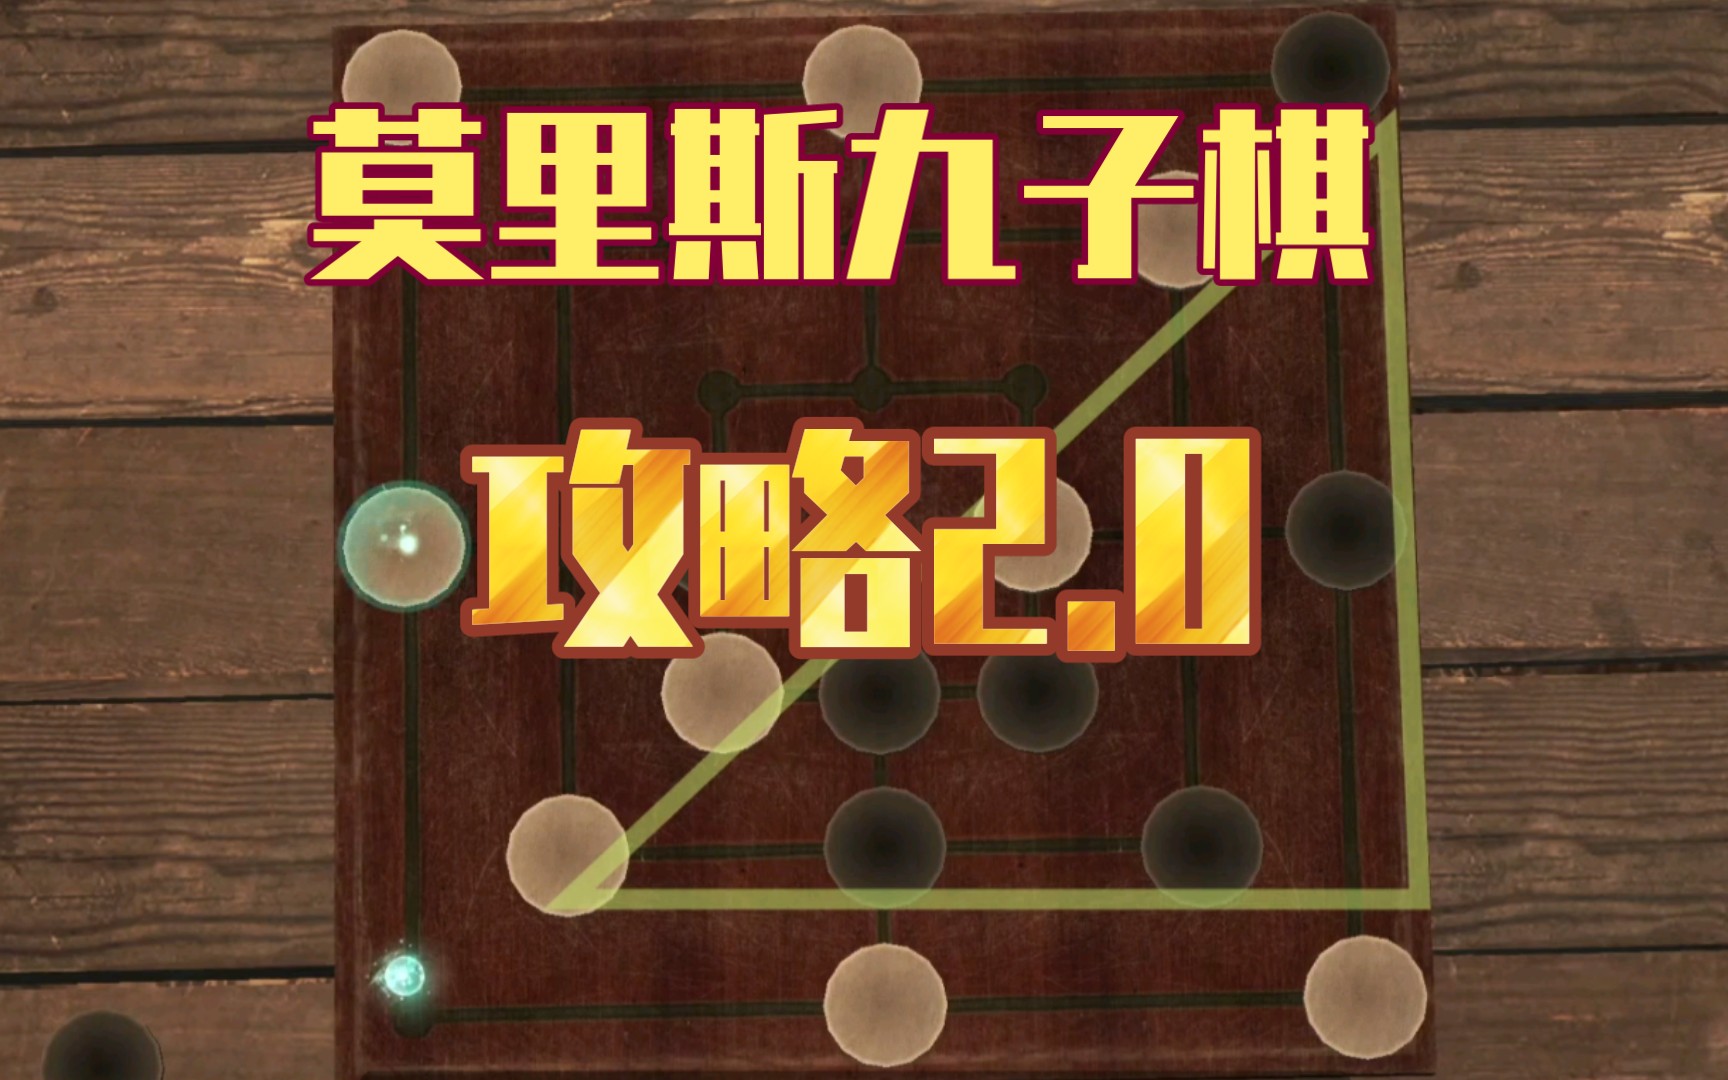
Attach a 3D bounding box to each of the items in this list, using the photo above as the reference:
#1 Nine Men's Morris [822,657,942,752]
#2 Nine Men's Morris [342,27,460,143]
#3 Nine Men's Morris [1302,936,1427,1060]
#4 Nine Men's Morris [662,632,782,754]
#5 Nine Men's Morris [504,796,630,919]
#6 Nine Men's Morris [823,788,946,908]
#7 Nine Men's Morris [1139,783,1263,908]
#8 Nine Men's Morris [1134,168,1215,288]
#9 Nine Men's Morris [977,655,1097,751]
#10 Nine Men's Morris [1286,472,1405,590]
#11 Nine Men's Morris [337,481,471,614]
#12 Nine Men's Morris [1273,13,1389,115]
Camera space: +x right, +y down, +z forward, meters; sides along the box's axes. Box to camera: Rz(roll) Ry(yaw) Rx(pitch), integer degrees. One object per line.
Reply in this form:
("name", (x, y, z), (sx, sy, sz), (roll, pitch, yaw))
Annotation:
("Nine Men's Morris", (0.026, 0.274, 5.637), (0.163, 0.037, 0.168), (6, 92, -2))
("Nine Men's Morris", (-0.776, -0.785, 5.668), (0.198, 0.026, 0.141), (-14, 82, -3))
("Nine Men's Morris", (0.824, 0.765, 5.612), (0.193, 0.025, 0.195), (33, 82, 4))
("Nine Men's Morris", (-0.234, 0.263, 5.656), (0.198, 0.023, 0.188), (-36, 83, -6))
("Nine Men's Morris", (-0.490, 0.535, 5.644), (0.197, 0.044, 0.197), (8, 81, 1))
("Nine Men's Morris", (0.033, 0.526, 5.674), (0.185, 0.038, 0.192), (-6, 89, 0))
("Nine Men's Morris", (0.560, 0.520, 5.624), (0.189, 0.039, 0.196), (-5, 91, 2))
("Nine Men's Morris", (0.513, -0.495, 5.665), (0.115, 0.023, 0.139), (1, 81, 0))
("Nine Men's Morris", (0.286, 0.278, 5.649), (0.194, 0.029, 0.155), (-1, 81, -1))
("Nine Men's Morris", (0.794, -0.012, 5.639), (0.182, 0.043, 0.187), (-9, 91, 5))
("Nine Men's Morris", (-0.767, 0.012, 5.662), (0.219, 0.034, 0.211), (-23, 82, -4))
("Nine Men's Morris", (0.773, -0.809, 5.664), (0.189, 0.029, 0.158), (2, 81, 0))
